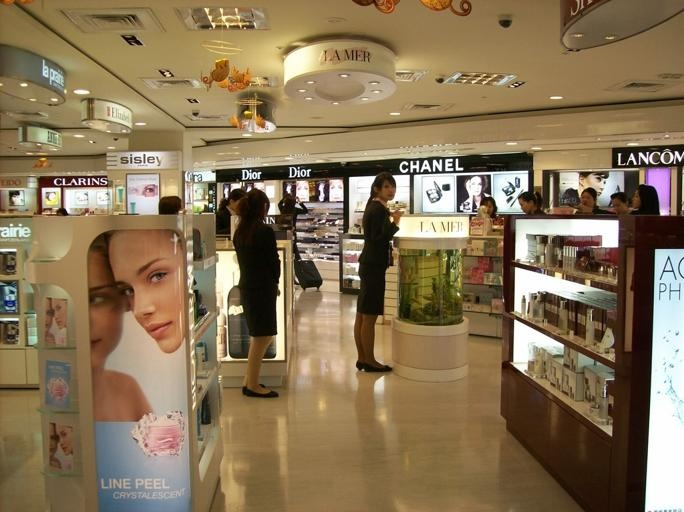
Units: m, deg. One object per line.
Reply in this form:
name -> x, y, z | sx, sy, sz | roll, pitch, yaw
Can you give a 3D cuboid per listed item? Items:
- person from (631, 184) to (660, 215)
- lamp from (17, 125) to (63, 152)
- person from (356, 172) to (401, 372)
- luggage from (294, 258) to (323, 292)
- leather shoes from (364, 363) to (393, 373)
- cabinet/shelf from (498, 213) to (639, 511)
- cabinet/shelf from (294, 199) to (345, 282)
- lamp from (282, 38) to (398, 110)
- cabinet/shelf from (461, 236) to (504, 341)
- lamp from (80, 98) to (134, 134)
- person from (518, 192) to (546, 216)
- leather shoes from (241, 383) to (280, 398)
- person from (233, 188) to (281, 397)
person -> 3.479, -0.637, 5.738 | 0.230, 0.330, 1.143 | 5, 10, 30
lamp -> -6.076, -2.334, 9.911 | 0.482, 0.328, 0.878 | 0, 2, 2
person -> 0.431, 0.214, 6.183 | 0.524, 2.444, 0.350 | -2, 8, -14
luggage -> -0.858, 0.490, 12.275 | 0.630, 0.380, 1.079 | 5, 47, -34
leather shoes -> 0.437, 1.398, 6.288 | 0.373, 0.156, 0.129 | -2, -3, -5
cabinet/shelf -> 1.791, 0.719, 4.002 | 0.572, 2.092, 1.616 | 0, 8, 0
cabinet/shelf -> -0.517, -0.549, 14.749 | 1.810, 1.891, 0.666 | 1, 7, 19
lamp -> -0.041, -2.245, 6.019 | 1.342, 0.624, 0.922 | 0, 9, 2
cabinet/shelf -> 2.199, 0.270, 7.887 | 0.592, 1.134, 0.359 | -3, -8, 21
lamp -> -4.038, -2.416, 8.625 | 0.514, 0.334, 0.900 | -1, 3, 6
person -> 2.853, -0.808, 7.586 | 0.305, 0.294, 0.748 | 3, 10, 19
leather shoes -> -0.897, 1.496, 5.529 | 0.416, 0.175, 0.147 | -1, 1, -2
person -> -0.902, 0.424, 5.326 | 0.484, 2.249, 0.388 | -1, 8, -8
